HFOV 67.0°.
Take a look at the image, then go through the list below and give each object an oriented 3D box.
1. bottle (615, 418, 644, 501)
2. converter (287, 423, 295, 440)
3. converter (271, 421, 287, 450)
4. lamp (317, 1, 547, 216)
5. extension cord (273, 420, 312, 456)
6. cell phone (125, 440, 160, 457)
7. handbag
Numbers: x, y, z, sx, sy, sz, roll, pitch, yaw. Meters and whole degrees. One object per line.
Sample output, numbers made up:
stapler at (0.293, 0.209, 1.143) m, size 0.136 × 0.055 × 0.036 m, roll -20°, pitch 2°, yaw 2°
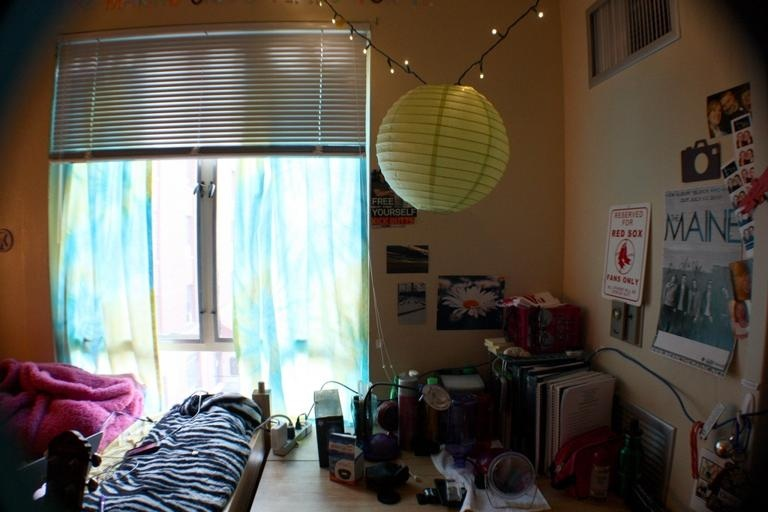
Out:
bottle at (1.295, 1.057, 3.043) m, size 0.124 × 0.414 × 0.083 m, roll -1°, pitch -2°, yaw 23°
converter at (-0.541, 1.029, 3.396) m, size 0.059 × 0.092 × 0.063 m, roll -2°, pitch 0°, yaw 9°
converter at (-0.601, 1.034, 3.331) m, size 0.068 × 0.143 × 0.137 m, roll -7°, pitch -4°, yaw 22°
lamp at (0.346, -0.907, 3.410) m, size 1.199 × 1.349 × 0.601 m, roll 0°, pitch 3°, yaw -3°
extension cord at (-0.552, 1.045, 3.432) m, size 0.079 × 0.164 × 0.324 m, roll 3°, pitch 12°, yaw 15°
cell phone at (-1.375, 1.102, 3.316) m, size 0.156 × 0.046 × 0.044 m, roll -13°, pitch 4°, yaw -11°
handbag at (1.054, 1.098, 3.168) m, size 0.355 × 0.367 × 0.245 m, roll 9°, pitch -1°, yaw -7°
